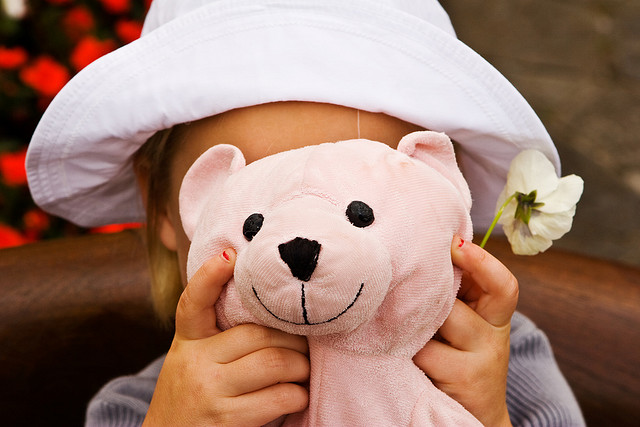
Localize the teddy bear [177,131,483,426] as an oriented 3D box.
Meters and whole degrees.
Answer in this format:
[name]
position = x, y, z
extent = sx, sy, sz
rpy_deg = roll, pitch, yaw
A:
[teddy bear]
position = 0.056, 0.079, 1.587
extent = 0.627, 0.587, 0.837
rpy_deg = -6, 74, 8
